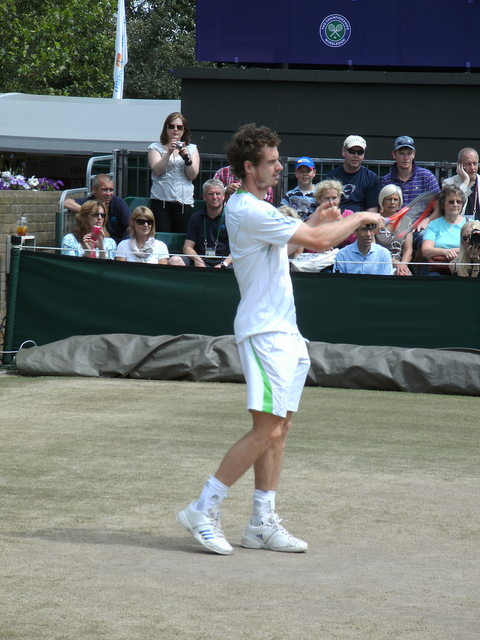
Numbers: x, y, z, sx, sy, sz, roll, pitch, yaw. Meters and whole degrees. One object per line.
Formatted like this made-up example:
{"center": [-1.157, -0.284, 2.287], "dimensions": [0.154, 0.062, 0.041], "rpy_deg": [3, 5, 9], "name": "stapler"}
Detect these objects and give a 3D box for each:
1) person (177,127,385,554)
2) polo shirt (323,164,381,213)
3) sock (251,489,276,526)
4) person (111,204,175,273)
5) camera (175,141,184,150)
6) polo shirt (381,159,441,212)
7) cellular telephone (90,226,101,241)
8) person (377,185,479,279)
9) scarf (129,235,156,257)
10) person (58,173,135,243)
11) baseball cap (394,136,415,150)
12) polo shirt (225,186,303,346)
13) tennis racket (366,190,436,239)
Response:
{"center": [0.121, 0.069, 3.767], "dimensions": [0.655, 1.647, 0.538], "rpy_deg": [2, 7, 1], "name": "person"}
{"center": [1.062, -1.179, 8.950], "dimensions": [0.640, 0.513, 0.331], "rpy_deg": [11, 13, 39], "name": "polo shirt"}
{"center": [0.089, 0.730, 3.741], "dimensions": [0.139, 0.164, 0.110], "rpy_deg": [0, -1, -2], "name": "sock"}
{"center": [-0.802, -0.676, 8.039], "dimensions": [0.516, 0.268, 0.795], "rpy_deg": [-1, 20, -11], "name": "person"}
{"center": [-0.569, -1.651, 9.033], "dimensions": [0.074, 0.084, 0.164], "rpy_deg": [1, 6, -13], "name": "camera"}
{"center": [1.592, -1.221, 8.981], "dimensions": [0.636, 0.506, 0.300], "rpy_deg": [1, 14, 18], "name": "polo shirt"}
{"center": [-1.265, -0.757, 8.288], "dimensions": [0.026, 0.095, 0.104], "rpy_deg": [16, -2, 2], "name": "cellular telephone"}
{"center": [1.578, -0.669, 7.909], "dimensions": [1.099, 0.914, 0.306], "rpy_deg": [3, -8, 1], "name": "person"}
{"center": [-0.861, -0.633, 8.250], "dimensions": [0.186, 0.200, 0.086], "rpy_deg": [-3, 4, 2], "name": "scarf"}
{"center": [-1.279, -0.895, 9.042], "dimensions": [0.807, 0.912, 0.459], "rpy_deg": [1, 12, 3], "name": "person"}
{"center": [1.551, -1.656, 8.922], "dimensions": [0.188, 0.123, 0.246], "rpy_deg": [3, -11, 5], "name": "baseball cap"}
{"center": [0.085, -0.215, 3.779], "dimensions": [0.319, 0.624, 0.258], "rpy_deg": [3, 7, 5], "name": "polo shirt"}
{"center": [1.349, -0.856, 7.860], "dimensions": [0.100, 0.257, 0.944], "rpy_deg": [21, 16, 27], "name": "tennis racket"}
